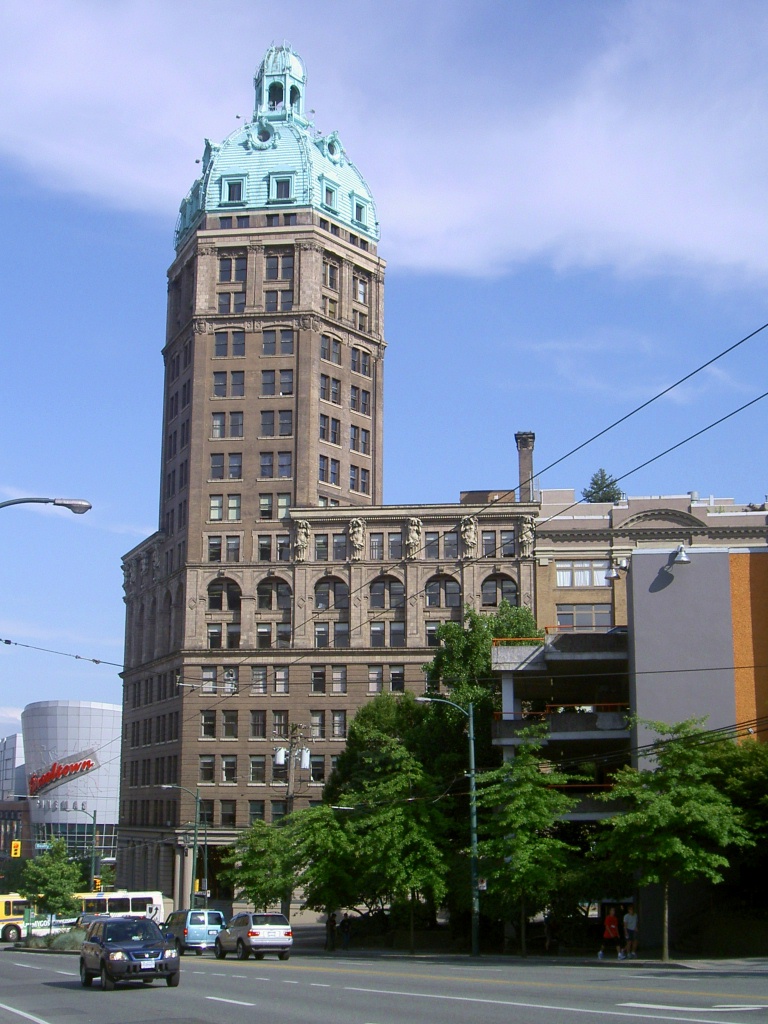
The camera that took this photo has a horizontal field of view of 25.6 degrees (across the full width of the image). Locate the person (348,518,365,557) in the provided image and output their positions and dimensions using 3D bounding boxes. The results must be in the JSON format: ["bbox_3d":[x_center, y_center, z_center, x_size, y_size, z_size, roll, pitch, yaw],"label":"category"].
[{"bbox_3d":[-1.831,1.704,106.738,1.018,2.495,0.550,-1,-13,-4],"label":"person"}]
